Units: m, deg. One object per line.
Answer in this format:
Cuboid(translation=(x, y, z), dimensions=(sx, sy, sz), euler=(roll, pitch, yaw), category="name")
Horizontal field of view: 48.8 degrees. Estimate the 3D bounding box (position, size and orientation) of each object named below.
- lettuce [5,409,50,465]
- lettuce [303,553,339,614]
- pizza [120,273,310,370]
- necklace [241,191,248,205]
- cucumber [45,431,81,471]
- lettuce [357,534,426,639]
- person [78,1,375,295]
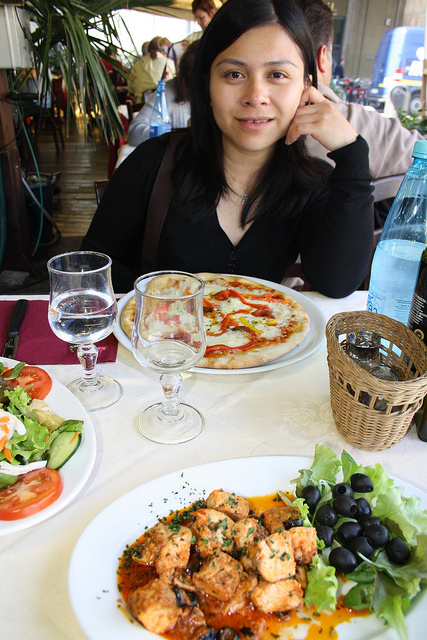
Cuboid(translation=(-0.287, 0.178, 0.697), dimensions=(0.046, 0.024, 0.057), euler=(-1, 56, -15), category="lettuce")
Cuboid(translation=(0.129, 0.313, 0.559), dimensions=(0.019, 0.058, 0.037), euler=(-7, 32, -20), category="lettuce")
Cuboid(translation=(0.086, 0.017, 1.340), dimensions=(0.323, 0.048, 0.322), euler=(18, 32, 20), category="pizza")
Cuboid(translation=(0.120, -0.477, 1.843), dimensions=(0.034, 0.035, 0.011), euler=(-5, -20, 30), category="necklace")
Cuboid(translation=(-0.236, 0.205, 0.744), dimensions=(0.062, 0.034, 0.020), euler=(-53, 12, -23), category="cucumber")
Cuboid(translation=(0.192, 0.313, 0.544), dimensions=(0.093, 0.063, 0.019), euler=(-36, 14, 24), category="lettuce")
Cuboid(translation=(0.067, -0.567, 1.702), dimensions=(1.063, 1.005, 0.531), euler=(11, 27, 14), category="person")
